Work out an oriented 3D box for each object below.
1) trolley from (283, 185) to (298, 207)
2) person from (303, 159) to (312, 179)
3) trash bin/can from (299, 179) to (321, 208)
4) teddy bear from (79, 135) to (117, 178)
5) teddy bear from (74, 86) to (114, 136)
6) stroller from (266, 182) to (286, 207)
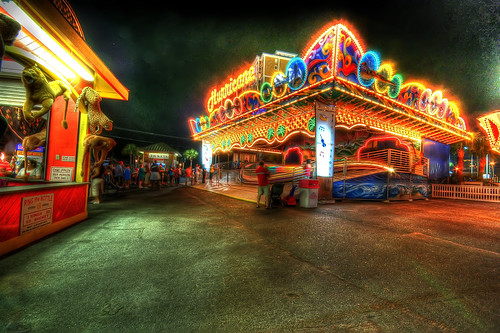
[{"bbox_3d":[1.744,1.209,14.130,0.540,0.955,0.703,3,25,-20],"label":"trolley"},{"bbox_3d":[2.866,0.166,15.654,0.205,0.814,0.455,5,-1,-26],"label":"person"},{"bbox_3d":[2.560,1.137,14.095,0.802,1.203,0.575,2,3,5],"label":"trash bin/can"},{"bbox_3d":[-5.505,-0.407,11.700,0.904,1.525,1.188,1,3,-11],"label":"teddy bear"},{"bbox_3d":[-5.358,-1.929,10.991,1.133,1.622,0.809,-1,4,-35],"label":"teddy bear"},{"bbox_3d":[1.105,1.151,13.670,0.717,1.291,0.907,0,17,-3],"label":"stroller"}]
